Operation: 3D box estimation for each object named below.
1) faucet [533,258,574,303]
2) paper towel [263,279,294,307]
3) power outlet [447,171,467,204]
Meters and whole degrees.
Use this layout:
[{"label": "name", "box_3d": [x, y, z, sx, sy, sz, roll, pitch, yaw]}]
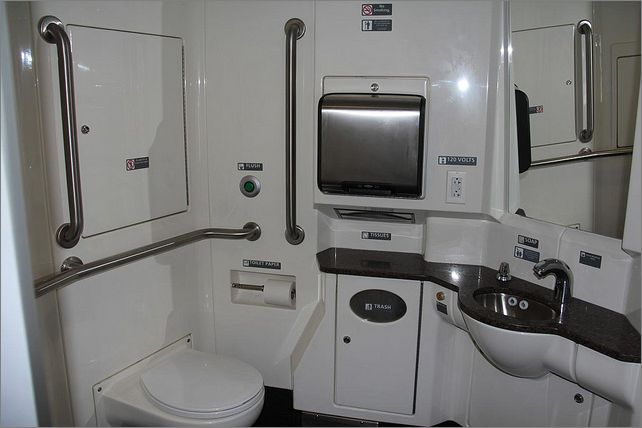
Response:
[{"label": "faucet", "box_3d": [1.100, 0.316, 2.298, 0.283, 0.216, 0.073, -5, 12, -30]}, {"label": "paper towel", "box_3d": [-0.257, 0.478, 3.059, 0.173, 0.157, 0.160, -1, 8, 13]}, {"label": "power outlet", "box_3d": [0.742, -0.141, 2.713, 0.075, 0.142, 0.010, 3, 7, 3]}]
